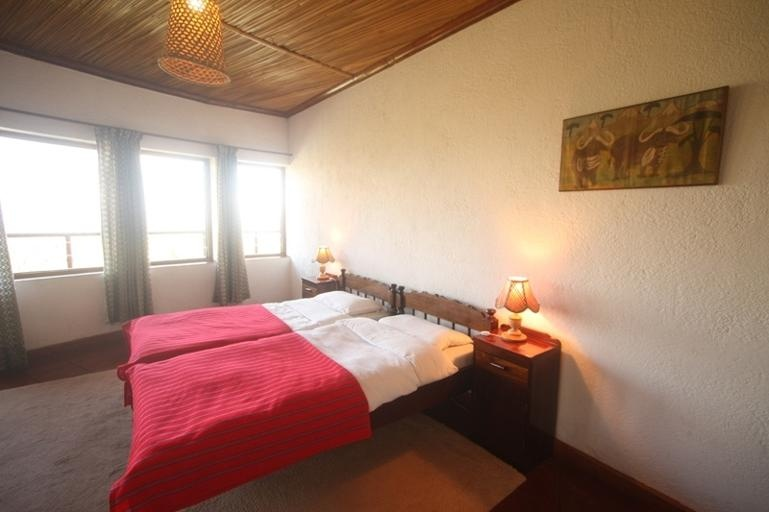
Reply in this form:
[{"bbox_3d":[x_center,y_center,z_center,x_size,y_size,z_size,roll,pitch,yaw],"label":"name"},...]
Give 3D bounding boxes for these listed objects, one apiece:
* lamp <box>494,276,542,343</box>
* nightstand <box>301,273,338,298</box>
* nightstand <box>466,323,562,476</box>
[{"bbox_3d":[1.209,0.483,4.532,0.399,0.547,0.375,3,5,5],"label":"lamp"},{"bbox_3d":[-0.836,0.301,6.597,0.305,0.378,0.514,-2,6,-25],"label":"nightstand"},{"bbox_3d":[1.213,1.278,4.583,0.537,1.090,0.679,-8,13,-42],"label":"nightstand"}]
